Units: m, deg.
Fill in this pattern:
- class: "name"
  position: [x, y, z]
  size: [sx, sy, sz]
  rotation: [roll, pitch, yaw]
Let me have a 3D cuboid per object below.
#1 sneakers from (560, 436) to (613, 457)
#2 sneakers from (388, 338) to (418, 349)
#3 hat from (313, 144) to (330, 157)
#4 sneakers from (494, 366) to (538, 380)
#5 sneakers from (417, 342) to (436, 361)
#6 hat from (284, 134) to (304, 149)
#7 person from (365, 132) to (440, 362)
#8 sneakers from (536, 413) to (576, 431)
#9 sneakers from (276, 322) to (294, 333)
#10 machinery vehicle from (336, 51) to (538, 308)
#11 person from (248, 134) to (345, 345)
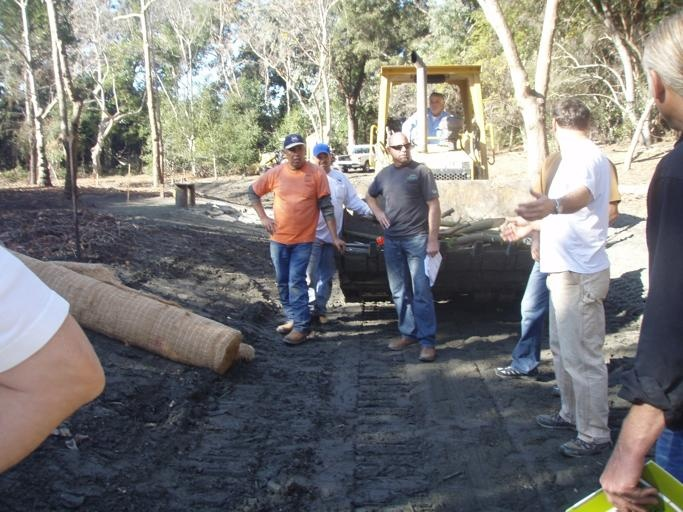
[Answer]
- class: "sneakers"
  position: [1.741, 1.373, 4.319]
  size: [0.357, 0.194, 0.145]
  rotation: [2, -3, 3]
- class: "sneakers"
  position: [0.669, 0.971, 6.559]
  size: [0.330, 0.166, 0.122]
  rotation: [-2, 10, -15]
- class: "hat"
  position: [-0.259, -1.347, 7.632]
  size: [0.133, 0.119, 0.198]
  rotation: [-4, 9, -2]
- class: "sneakers"
  position: [1.626, 1.113, 5.592]
  size: [0.367, 0.175, 0.147]
  rotation: [7, 0, 8]
- class: "sneakers"
  position: [0.873, 0.996, 6.126]
  size: [0.106, 0.145, 0.334]
  rotation: [-2, -10, 10]
- class: "hat"
  position: [-0.563, -1.312, 6.752]
  size: [0.210, 0.182, 0.368]
  rotation: [-4, 1, -14]
- class: "person"
  position: [0.711, -0.127, 6.375]
  size: [0.581, 2.330, 1.115]
  rotation: [-6, 12, -23]
- class: "sneakers"
  position: [1.652, 1.303, 4.617]
  size: [0.276, 0.132, 0.107]
  rotation: [6, 6, 14]
- class: "sneakers"
  position: [-0.677, 0.863, 7.101]
  size: [0.200, 0.099, 0.106]
  rotation: [4, 3, -30]
- class: "machinery vehicle"
  position: [1.510, -1.345, 9.915]
  size: [2.992, 3.638, 5.627]
  rotation: [-1, 6, 14]
- class: "person"
  position: [-0.518, -0.196, 6.776]
  size: [1.030, 2.296, 0.675]
  rotation: [0, 11, 6]
